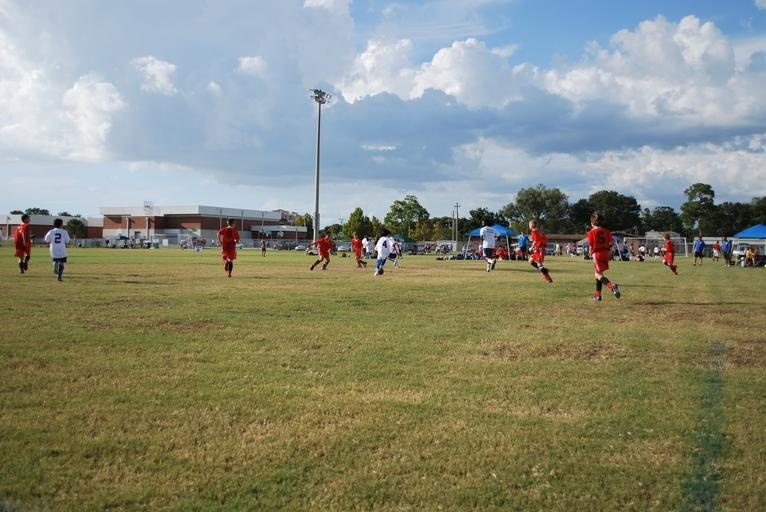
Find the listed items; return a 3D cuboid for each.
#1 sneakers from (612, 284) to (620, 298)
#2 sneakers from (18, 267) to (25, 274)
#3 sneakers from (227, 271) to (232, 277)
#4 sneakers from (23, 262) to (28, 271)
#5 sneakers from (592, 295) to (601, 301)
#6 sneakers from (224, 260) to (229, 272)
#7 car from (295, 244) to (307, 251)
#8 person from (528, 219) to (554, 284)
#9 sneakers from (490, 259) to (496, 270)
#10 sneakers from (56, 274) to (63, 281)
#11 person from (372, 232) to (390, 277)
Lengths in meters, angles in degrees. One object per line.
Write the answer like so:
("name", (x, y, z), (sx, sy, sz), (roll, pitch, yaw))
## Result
("sneakers", (5.385, 0.843, 15.369), (0.113, 0.289, 0.127), (-34, 14, -27))
("sneakers", (-11.123, 0.472, 20.533), (0.157, 0.321, 0.207), (0, -5, -21))
("sneakers", (-4.710, 0.587, 20.516), (0.090, 0.167, 0.182), (2, -7, -2))
("sneakers", (-11.223, 0.359, 20.951), (0.084, 0.256, 0.105), (-2, 12, -27))
("sneakers", (4.818, 0.972, 14.978), (0.105, 0.110, 0.254), (1, 3, 14))
("sneakers", (-4.851, 0.333, 20.752), (0.127, 0.385, 0.149), (3, 42, -11))
("car", (-8.561, -0.823, 70.468), (1.012, 0.742, 2.164), (-1, -2, -3))
("person", (5.044, -0.151, 21.372), (0.731, 2.068, 0.864), (-1, -13, 10))
("sneakers", (4.239, 0.355, 25.594), (0.154, 0.428, 0.190), (0, 27, -16))
("sneakers", (-8.740, 0.602, 18.023), (0.130, 0.217, 0.164), (-5, -2, 30))
("person", (-0.001, -0.075, 22.696), (0.525, 1.528, 0.505), (1, -21, 19))
